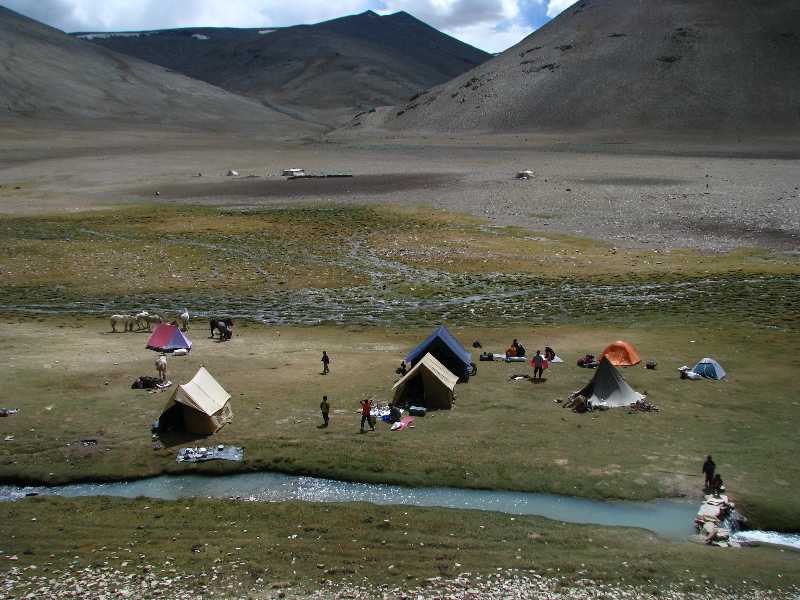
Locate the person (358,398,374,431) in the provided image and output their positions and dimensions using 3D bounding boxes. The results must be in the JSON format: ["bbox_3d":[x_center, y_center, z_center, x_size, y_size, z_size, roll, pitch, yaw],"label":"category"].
[{"bbox_3d":[-1.276,4.308,25.437,0.527,1.189,1.538,5,3,-4],"label":"person"}]

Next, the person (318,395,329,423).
[{"bbox_3d":[-2.929,4.214,25.480,0.377,1.141,0.898,5,3,-7],"label":"person"}]

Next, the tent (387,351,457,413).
[{"bbox_3d":[0.974,3.155,28.023,2.930,1.182,2.604,4,10,6],"label":"tent"}]

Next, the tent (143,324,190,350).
[{"bbox_3d":[-11.903,1.897,33.389,2.356,0.592,1.604,4,6,22],"label":"tent"}]

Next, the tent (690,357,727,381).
[{"bbox_3d":[13.884,3.104,29.546,1.573,0.398,1.172,0,1,16],"label":"tent"}]

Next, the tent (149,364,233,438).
[{"bbox_3d":[-7.740,3.943,25.623,2.824,1.192,3.068,2,9,3],"label":"tent"}]

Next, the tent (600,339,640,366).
[{"bbox_3d":[10.766,2.537,31.440,2.003,0.578,1.968,-11,15,-44],"label":"tent"}]

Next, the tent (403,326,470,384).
[{"bbox_3d":[2.083,2.498,30.104,3.909,1.363,2.929,1,10,7],"label":"tent"}]

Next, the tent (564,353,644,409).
[{"bbox_3d":[8.350,3.226,27.334,3.379,1.067,2.215,-9,21,-10],"label":"tent"}]

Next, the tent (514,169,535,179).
[{"bbox_3d":[18.255,-18.375,95.594,2.551,0.777,2.642,2,11,15],"label":"tent"}]

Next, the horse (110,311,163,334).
[{"bbox_3d":[-15.061,1.178,37.154,2.578,1.064,1.476,2,3,-16],"label":"horse"}]

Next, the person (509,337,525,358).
[{"bbox_3d":[5.766,2.322,32.079,0.734,0.800,0.472,3,3,-10],"label":"person"}]

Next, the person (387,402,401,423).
[{"bbox_3d":[-0.236,4.428,25.764,0.459,0.574,0.974,4,2,-2],"label":"person"}]
